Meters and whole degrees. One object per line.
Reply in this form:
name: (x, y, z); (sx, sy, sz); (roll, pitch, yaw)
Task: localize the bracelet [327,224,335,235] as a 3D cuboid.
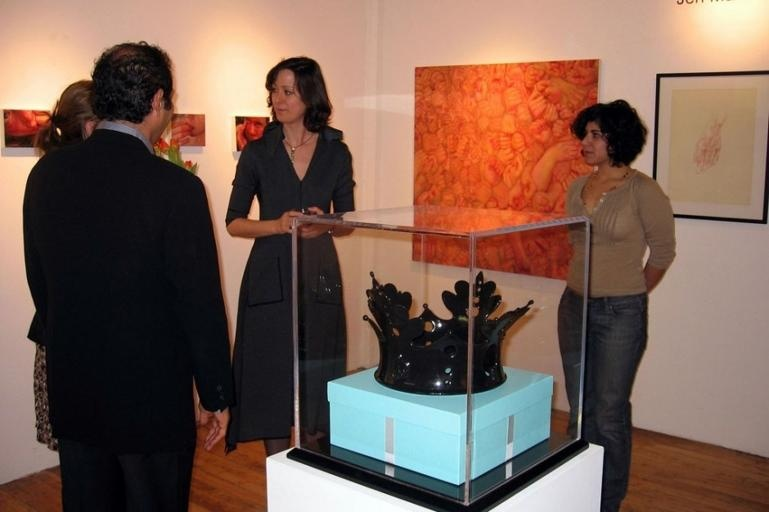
bracelet: (-0.181, -0.086, 2.090); (0.016, 0.028, 0.020); (4, 12, 9)
